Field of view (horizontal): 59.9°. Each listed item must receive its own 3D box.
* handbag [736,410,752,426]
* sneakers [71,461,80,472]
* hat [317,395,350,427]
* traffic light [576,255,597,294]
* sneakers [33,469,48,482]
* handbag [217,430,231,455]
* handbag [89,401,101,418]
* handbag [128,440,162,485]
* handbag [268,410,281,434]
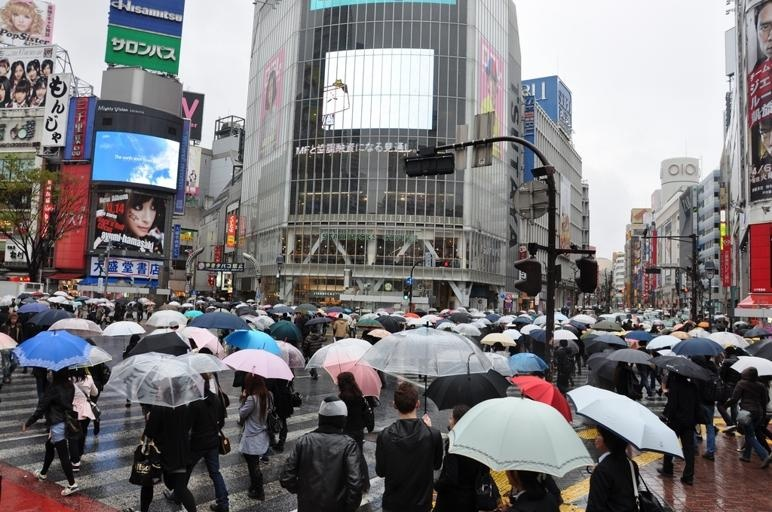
[{"bbox_3d":[10.486,4.706,19.564,0.381,0.538,0.413,1,-8,-10],"label":"handbag"},{"bbox_3d":[-8.408,5.696,18.233,0.161,0.261,0.427,1,-6,1],"label":"sneakers"},{"bbox_3d":[-1.179,3.507,15.202,0.553,0.654,0.698,0,-5,7],"label":"hat"},{"bbox_3d":[6.202,0.555,20.583,0.598,1.172,0.933,0,-7,14],"label":"traffic light"},{"bbox_3d":[-9.203,5.819,17.796,0.378,0.182,0.168,10,6,38],"label":"sneakers"},{"bbox_3d":[-4.158,4.779,17.213,0.265,0.657,0.892,3,-6,-11],"label":"handbag"},{"bbox_3d":[-8.329,4.401,19.148,0.214,0.546,0.765,2,-6,-10],"label":"handbag"},{"bbox_3d":[-5.726,4.935,16.033,0.684,1.101,0.300,3,-7,-18],"label":"handbag"},{"bbox_3d":[-3.030,4.513,18.301,0.301,0.546,0.775,2,-6,-4],"label":"handbag"}]
